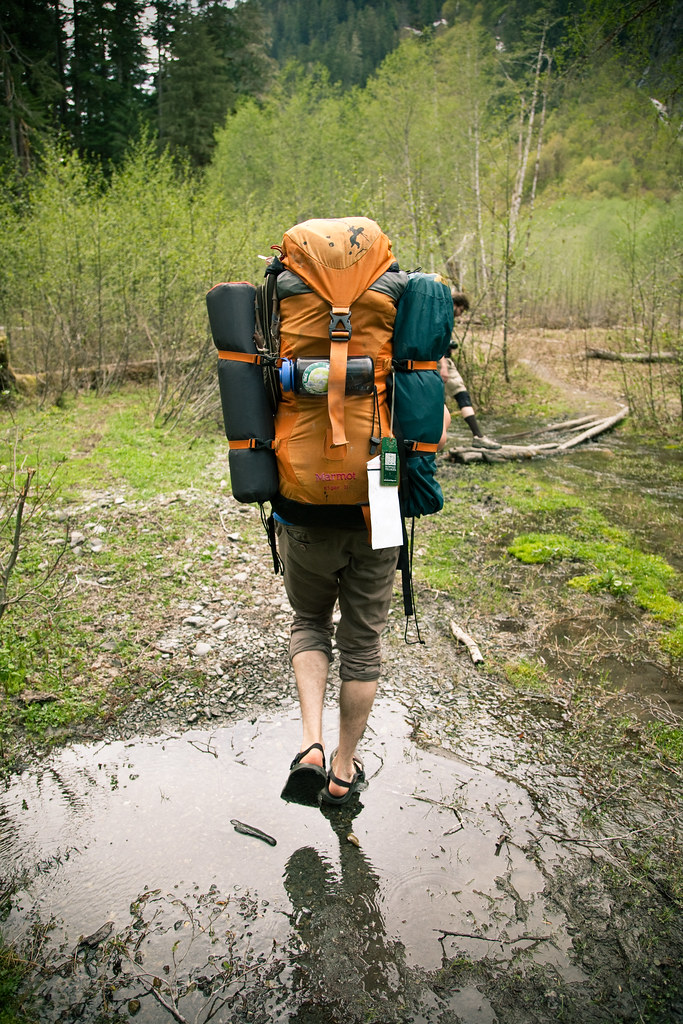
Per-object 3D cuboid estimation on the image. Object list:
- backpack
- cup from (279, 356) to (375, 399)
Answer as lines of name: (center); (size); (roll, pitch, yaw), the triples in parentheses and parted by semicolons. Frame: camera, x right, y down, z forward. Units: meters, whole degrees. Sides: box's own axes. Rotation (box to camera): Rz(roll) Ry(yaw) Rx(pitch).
backpack: (-0.016, -0.426, 2.380); (0.741, 0.951, 0.371); (-6, 14, -10)
cup: (-0.044, -0.396, 2.260); (0.276, 0.122, 0.106); (-4, 14, -5)
